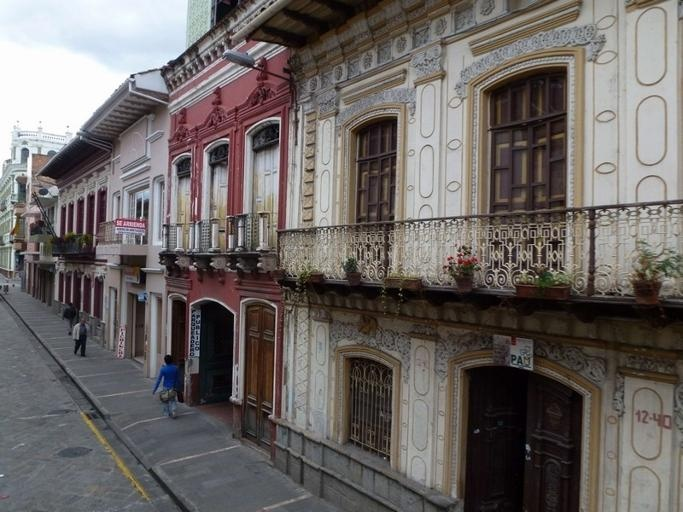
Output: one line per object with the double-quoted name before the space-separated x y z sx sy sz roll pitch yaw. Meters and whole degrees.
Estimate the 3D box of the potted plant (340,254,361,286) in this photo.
"potted plant" 0.233 0.318 15.834 0.420 0.744 0.475 4 -6 -24

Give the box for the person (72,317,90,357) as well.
"person" -10.409 3.196 29.454 0.538 1.569 1.993 -4 9 -21

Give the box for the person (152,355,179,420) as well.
"person" -5.105 3.699 21.505 0.697 1.822 0.859 -3 8 -16

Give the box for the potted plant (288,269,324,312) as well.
"potted plant" -0.869 0.787 17.034 0.875 0.504 0.757 -5 -19 24

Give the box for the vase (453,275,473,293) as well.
"vase" 2.333 0.543 14.159 0.270 0.249 0.292 -2 -5 26

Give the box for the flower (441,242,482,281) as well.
"flower" 2.340 0.124 14.417 0.569 0.639 0.619 1 -4 2

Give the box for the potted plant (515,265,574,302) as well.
"potted plant" 3.711 0.531 13.510 0.594 0.579 0.810 -1 -1 23
